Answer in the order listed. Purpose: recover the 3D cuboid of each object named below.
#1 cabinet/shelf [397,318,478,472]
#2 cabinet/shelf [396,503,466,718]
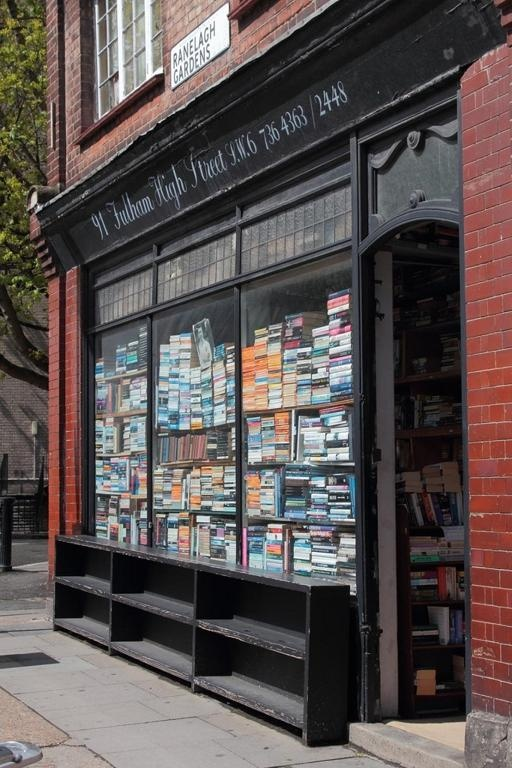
[{"bbox_3d":[1.135,0.106,4.966,0.289,1.018,0.929,1,-3,-25],"label":"cabinet/shelf"},{"bbox_3d":[1.021,1.308,4.540,0.402,1.149,0.772,3,-7,20],"label":"cabinet/shelf"}]
